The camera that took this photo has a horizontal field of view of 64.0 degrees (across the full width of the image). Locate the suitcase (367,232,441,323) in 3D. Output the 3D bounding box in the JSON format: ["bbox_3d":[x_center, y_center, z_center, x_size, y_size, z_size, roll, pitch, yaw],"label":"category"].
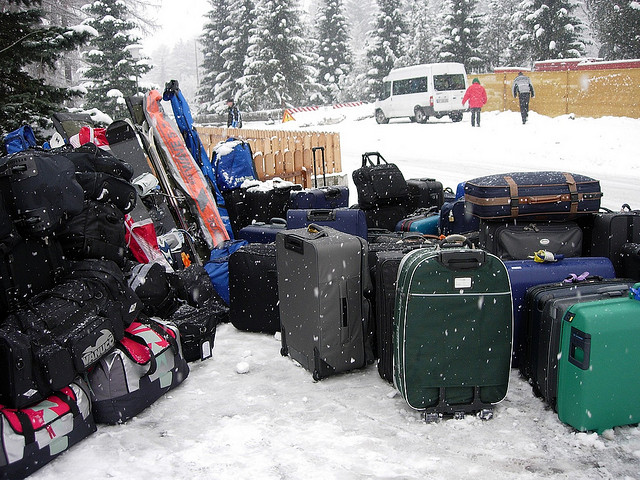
[{"bbox_3d":[0.818,0.264,5.022,0.719,1.114,0.558,-4,11,-12],"label":"suitcase"}]

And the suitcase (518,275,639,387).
[{"bbox_3d":[1.891,0.652,3.696,0.721,0.816,0.245,-4,14,-19],"label":"suitcase"}]

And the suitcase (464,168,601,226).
[{"bbox_3d":[1.973,-0.396,4.770,1.183,0.449,0.350,-6,16,-6],"label":"suitcase"}]

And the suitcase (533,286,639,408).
[{"bbox_3d":[1.910,0.746,3.610,0.730,0.887,0.264,-4,15,-13],"label":"suitcase"}]

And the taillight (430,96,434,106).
[{"bbox_3d":[4.904,-6.130,22.461,0.184,0.397,0.055,8,19,37],"label":"taillight"}]

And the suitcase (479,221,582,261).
[{"bbox_3d":[1.951,0.095,4.847,0.736,0.474,0.710,1,-6,-1],"label":"suitcase"}]

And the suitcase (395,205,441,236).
[{"bbox_3d":[1.278,-0.395,6.524,0.548,0.449,0.390,-10,14,-42],"label":"suitcase"}]

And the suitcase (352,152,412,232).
[{"bbox_3d":[0.862,-0.653,7.416,0.841,1.272,0.634,-7,12,-33],"label":"suitcase"}]

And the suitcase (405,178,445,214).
[{"bbox_3d":[1.569,-0.703,7.742,0.525,0.548,0.516,-6,8,-40],"label":"suitcase"}]

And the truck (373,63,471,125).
[{"bbox_3d":[4.743,-7.038,24.663,2.287,2.850,4.821,-10,18,-24],"label":"truck"}]

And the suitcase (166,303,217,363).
[{"bbox_3d":[-1.166,0.800,4.739,0.336,0.507,0.441,9,9,37],"label":"suitcase"}]

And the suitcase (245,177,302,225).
[{"bbox_3d":[-0.656,-0.567,7.173,0.902,0.947,0.539,-1,18,-9],"label":"suitcase"}]

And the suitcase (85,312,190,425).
[{"bbox_3d":[-1.534,1.001,4.296,0.498,0.726,0.982,3,13,16],"label":"suitcase"}]

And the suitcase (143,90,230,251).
[{"bbox_3d":[-1.790,-0.856,6.944,0.526,1.781,1.204,-16,20,-37],"label":"suitcase"}]

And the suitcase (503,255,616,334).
[{"bbox_3d":[1.826,0.424,3.913,0.533,0.565,0.189,-2,5,-6],"label":"suitcase"}]

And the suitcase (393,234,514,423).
[{"bbox_3d":[1.041,0.608,4.004,0.811,1.412,0.610,-3,14,1],"label":"suitcase"}]

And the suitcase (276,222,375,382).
[{"bbox_3d":[0.052,0.558,4.403,0.776,1.398,0.866,-10,17,-31],"label":"suitcase"}]

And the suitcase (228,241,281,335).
[{"bbox_3d":[-0.658,0.491,5.364,0.595,1.001,0.515,0,17,-14],"label":"suitcase"}]
